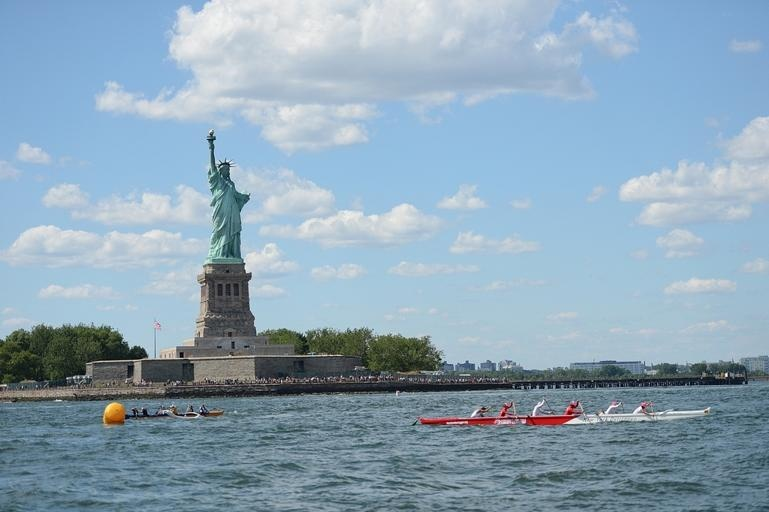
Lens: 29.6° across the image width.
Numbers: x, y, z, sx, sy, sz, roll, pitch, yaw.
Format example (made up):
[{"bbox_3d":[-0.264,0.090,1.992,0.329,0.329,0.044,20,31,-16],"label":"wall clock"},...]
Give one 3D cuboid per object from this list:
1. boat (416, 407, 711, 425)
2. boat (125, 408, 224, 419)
[{"bbox_3d":[16.870,15.372,139.502,26.789,1.503,4.870,-1,-11,-6],"label":"boat"},{"bbox_3d":[-21.469,15.901,148.269,9.839,1.192,3.680,3,-12,-28],"label":"boat"}]
